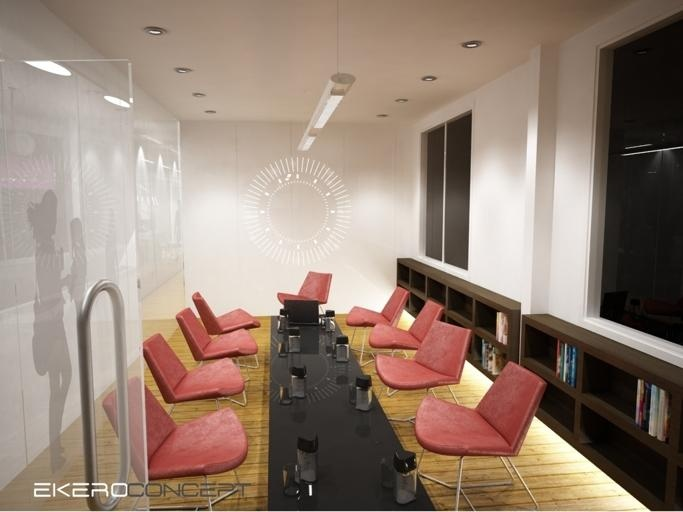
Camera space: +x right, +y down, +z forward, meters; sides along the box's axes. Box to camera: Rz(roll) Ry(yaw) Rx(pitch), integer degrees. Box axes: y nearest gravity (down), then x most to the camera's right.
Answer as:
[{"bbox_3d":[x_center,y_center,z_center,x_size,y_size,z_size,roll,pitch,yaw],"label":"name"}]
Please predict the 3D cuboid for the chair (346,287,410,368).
[{"bbox_3d":[0.441,0.878,6.316,0.810,1.048,0.879,1,2,-11],"label":"chair"}]

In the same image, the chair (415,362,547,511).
[{"bbox_3d":[0.972,1.255,3.721,0.885,1.068,1.002,0,3,-10],"label":"chair"}]

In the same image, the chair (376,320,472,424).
[{"bbox_3d":[0.685,1.003,4.608,0.833,0.910,0.868,0,3,-18],"label":"chair"}]

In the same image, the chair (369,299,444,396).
[{"bbox_3d":[0.599,0.975,5.400,0.864,0.930,0.822,0,5,-7],"label":"chair"}]

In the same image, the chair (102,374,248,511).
[{"bbox_3d":[-1.014,1.374,3.517,0.963,0.986,0.912,-3,15,-4],"label":"chair"}]
